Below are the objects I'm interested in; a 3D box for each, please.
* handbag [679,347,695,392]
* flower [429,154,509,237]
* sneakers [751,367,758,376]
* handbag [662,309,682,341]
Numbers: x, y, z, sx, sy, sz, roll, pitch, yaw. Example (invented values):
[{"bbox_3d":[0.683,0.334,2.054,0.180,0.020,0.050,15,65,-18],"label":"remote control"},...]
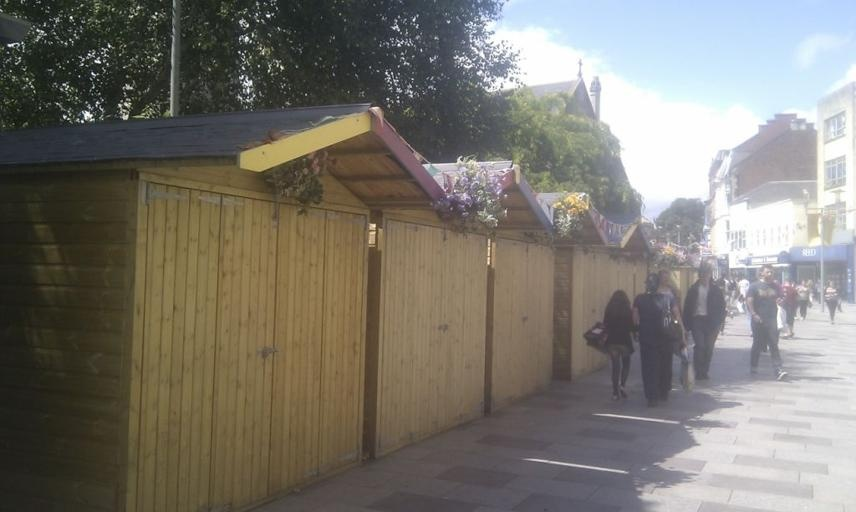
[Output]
[{"bbox_3d":[5.036,2.181,14.406,0.242,0.855,0.451,2,4,22],"label":"handbag"},{"bbox_3d":[0.604,-1.061,12.064,1.569,1.128,0.586,-2,4,-44],"label":"flower"},{"bbox_3d":[7.765,2.698,17.499,0.183,0.191,0.189,-1,-3,2],"label":"sneakers"},{"bbox_3d":[4.778,1.346,14.477,0.230,0.495,0.470,-14,-18,25],"label":"handbag"}]
